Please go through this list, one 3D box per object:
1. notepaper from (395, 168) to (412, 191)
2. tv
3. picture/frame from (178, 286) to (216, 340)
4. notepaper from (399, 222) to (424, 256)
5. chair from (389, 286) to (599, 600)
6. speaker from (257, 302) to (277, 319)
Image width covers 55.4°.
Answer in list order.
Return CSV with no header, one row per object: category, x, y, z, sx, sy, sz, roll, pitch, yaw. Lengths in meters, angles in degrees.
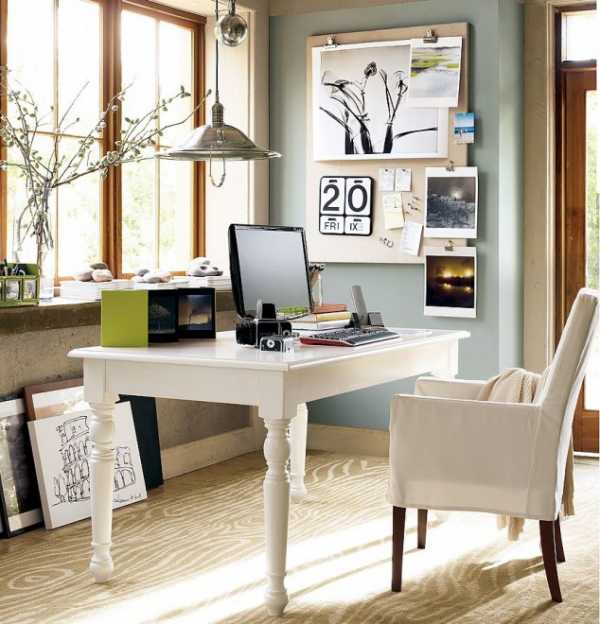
notepaper,0.629,-0.812,3.461,0.129,0.196,0.020,1,0,21
tv,-0.104,-0.146,2.070,0.048,0.287,0.372,-4,0,30
picture/frame,-0.364,0.003,1.983,0.162,0.227,0.023,-4,12,-32
notepaper,0.681,-0.447,3.455,0.159,0.289,0.029,9,2,31
chair,0.568,0.368,2.153,0.797,1.256,0.692,2,0,19
speaker,-0.109,-0.004,1.845,0.062,0.056,0.055,1,-2,-6
